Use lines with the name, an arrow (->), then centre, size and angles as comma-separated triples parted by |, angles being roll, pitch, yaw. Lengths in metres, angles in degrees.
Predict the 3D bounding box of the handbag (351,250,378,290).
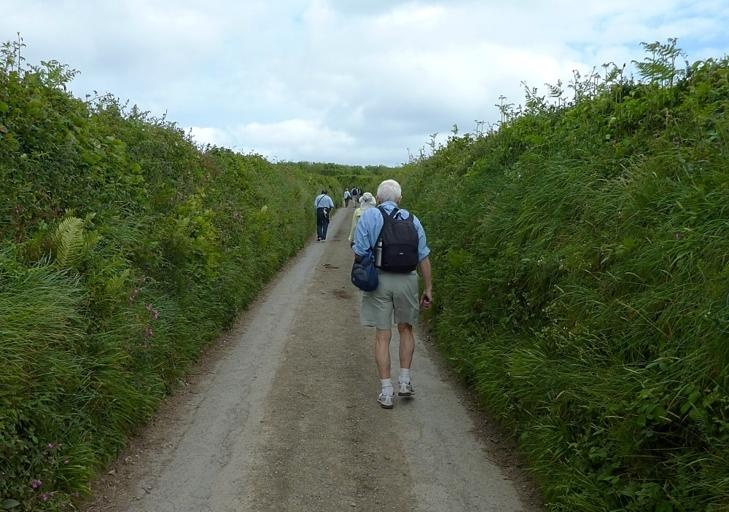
handbag -> -0.014, 0.220, 7.027 | 0.346, 0.489, 0.172 | 4, 12, 23

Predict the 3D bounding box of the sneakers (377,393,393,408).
sneakers -> 0.247, 1.731, 7.004 | 0.190, 0.178, 0.182 | -1, 12, 1

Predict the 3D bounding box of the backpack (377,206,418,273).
backpack -> 0.392, -0.180, 7.065 | 0.516, 0.771, 0.373 | 1, 11, 6

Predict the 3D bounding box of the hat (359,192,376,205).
hat -> 0.077, -1.218, 12.314 | 0.260, 0.365, 0.359 | 2, -8, -15
